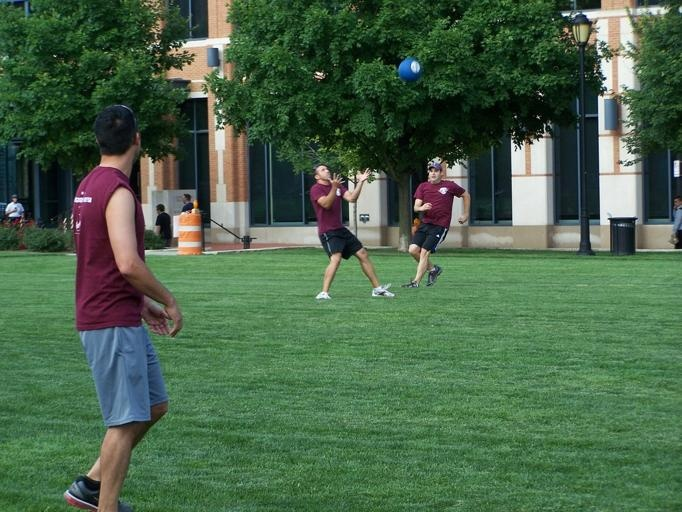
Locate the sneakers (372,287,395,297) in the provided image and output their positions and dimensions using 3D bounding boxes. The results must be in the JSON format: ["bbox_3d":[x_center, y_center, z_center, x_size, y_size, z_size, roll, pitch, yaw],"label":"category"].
[{"bbox_3d":[0.724,0.622,23.197,0.423,0.169,0.151,1,2,5],"label":"sneakers"}]

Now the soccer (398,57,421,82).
[{"bbox_3d":[1.641,-4.464,31.543,0.420,0.527,0.619,0,1,42],"label":"soccer"}]

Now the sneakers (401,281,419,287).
[{"bbox_3d":[1.290,0.511,24.402,0.366,0.145,0.121,3,1,4],"label":"sneakers"}]
